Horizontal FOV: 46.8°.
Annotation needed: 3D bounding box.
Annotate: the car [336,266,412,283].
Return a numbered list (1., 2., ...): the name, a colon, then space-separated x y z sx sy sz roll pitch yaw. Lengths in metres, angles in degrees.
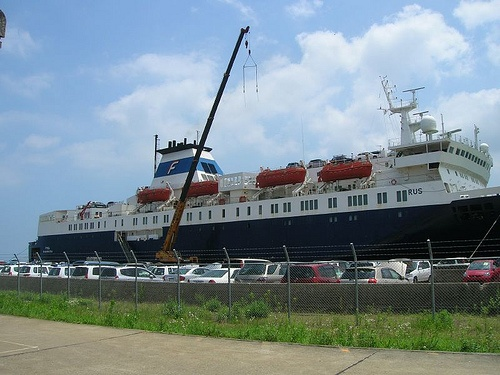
1. car: 5.187 3.601 23.613 2.674 0.909 1.255 -1 -1 -31

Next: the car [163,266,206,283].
1. car: -3.637 4.689 31.255 1.124 0.845 2.553 -2 0 31

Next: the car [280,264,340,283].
1. car: 2.661 3.542 24.002 1.989 0.692 1.343 -3 3 1

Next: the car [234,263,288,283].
1. car: 0.631 3.852 26.061 1.238 0.940 2.071 -3 0 37
